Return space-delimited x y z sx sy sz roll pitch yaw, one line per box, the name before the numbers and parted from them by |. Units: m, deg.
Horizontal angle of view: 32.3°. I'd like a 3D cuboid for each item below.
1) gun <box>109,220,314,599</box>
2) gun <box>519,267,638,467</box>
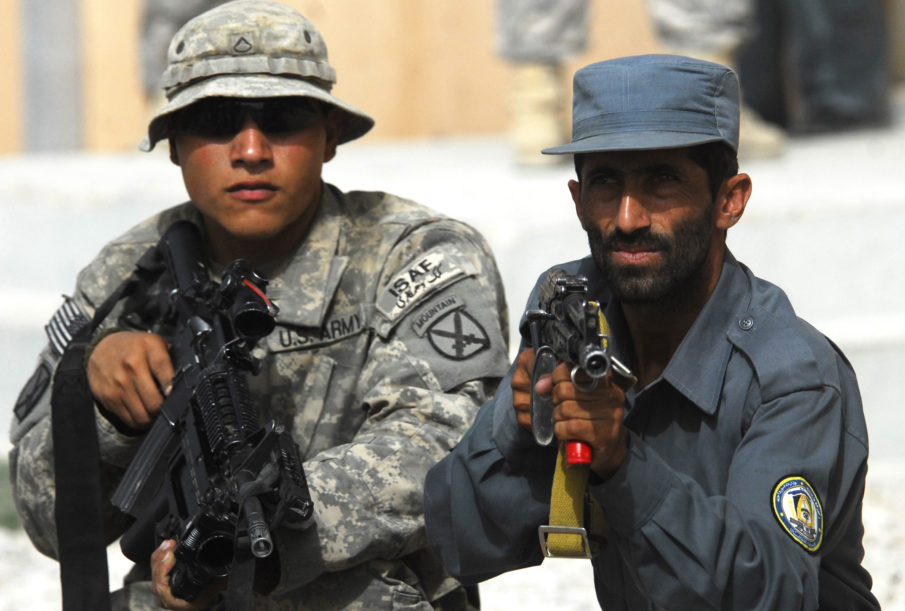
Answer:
gun | -1.197 0.566 7.982 1.053 1.868 0.431 -40 -46 21
gun | 0.521 0.239 7.367 0.352 0.805 0.689 -3 2 -33
